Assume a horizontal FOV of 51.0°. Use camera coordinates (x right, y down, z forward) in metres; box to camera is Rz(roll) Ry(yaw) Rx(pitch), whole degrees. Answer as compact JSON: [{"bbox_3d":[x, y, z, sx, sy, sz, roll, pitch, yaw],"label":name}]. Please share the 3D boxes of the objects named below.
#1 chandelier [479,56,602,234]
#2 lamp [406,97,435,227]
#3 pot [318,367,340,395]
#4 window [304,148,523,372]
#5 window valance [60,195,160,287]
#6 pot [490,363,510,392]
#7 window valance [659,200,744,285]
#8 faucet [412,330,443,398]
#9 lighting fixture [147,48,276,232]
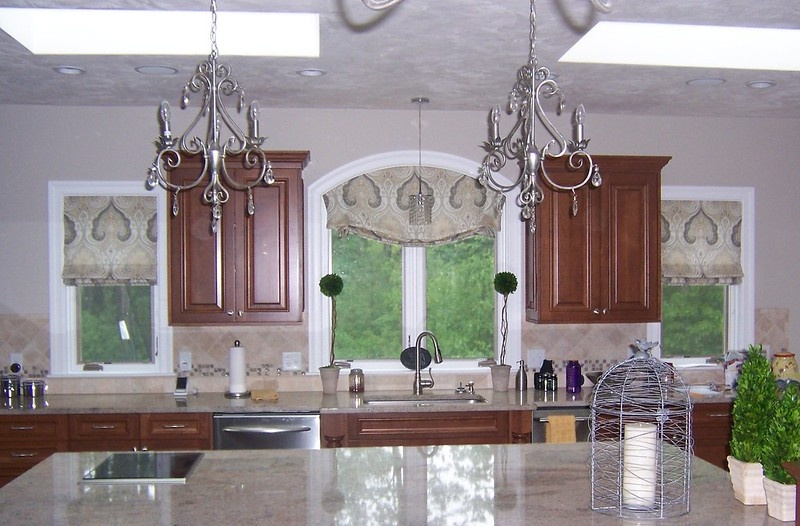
[{"bbox_3d":[0.832,-0.806,5.197,0.748,1.104,0.769,1,3,16],"label":"chandelier"},{"bbox_3d":[0.179,-0.868,7.298,0.217,1.051,0.405,-1,-3,1],"label":"lamp"},{"bbox_3d":[-0.605,0.995,7.186,0.215,0.231,0.222,0,1,0],"label":"pot"},{"bbox_3d":[0.056,-0.060,7.434,2.015,1.885,0.092,0,1,-5],"label":"window"},{"bbox_3d":[-2.567,-0.199,7.316,0.803,0.786,0.036,0,-6,-4],"label":"window valance"},{"bbox_3d":[0.876,0.990,7.290,0.210,0.215,0.206,0,-4,0],"label":"pot"},{"bbox_3d":[2.711,-0.174,7.628,0.780,0.769,0.040,0,-1,-2],"label":"window valance"},{"bbox_3d":[0.246,0.865,7.343,0.265,0.547,0.488,-1,-3,3],"label":"faucet"},{"bbox_3d":[-1.164,-0.870,5.209,0.758,1.136,0.784,-2,-3,-12],"label":"lighting fixture"}]
